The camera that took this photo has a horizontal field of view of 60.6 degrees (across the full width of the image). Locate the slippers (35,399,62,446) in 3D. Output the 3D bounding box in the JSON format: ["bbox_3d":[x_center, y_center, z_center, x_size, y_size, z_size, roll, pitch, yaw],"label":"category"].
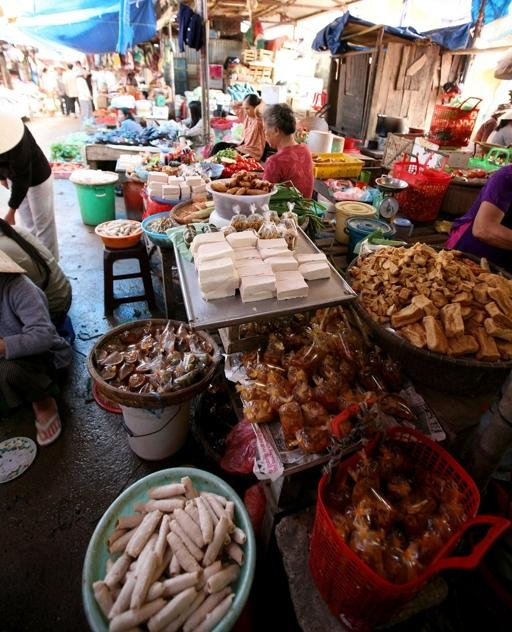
[{"bbox_3d":[-1.551,0.790,3.297,0.158,0.362,0.101,-12,1,-7],"label":"slippers"}]

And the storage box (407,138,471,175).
[{"bbox_3d":[2.068,-1.852,5.064,0.698,0.382,0.661,-9,29,-21],"label":"storage box"}]

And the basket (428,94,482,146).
[{"bbox_3d":[2.261,-2.217,5.070,0.468,0.519,0.451,14,33,15],"label":"basket"}]

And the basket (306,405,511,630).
[{"bbox_3d":[0.650,0.870,1.928,0.631,0.927,0.755,-32,63,-29],"label":"basket"}]

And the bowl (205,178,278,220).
[{"bbox_3d":[-0.100,-0.726,2.772,0.398,0.198,0.361,9,32,9],"label":"bowl"}]

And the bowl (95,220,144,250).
[{"bbox_3d":[-1.427,-0.856,4.595,0.433,0.208,0.601,-6,32,-16],"label":"bowl"}]

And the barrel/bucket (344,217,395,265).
[{"bbox_3d":[0.853,-0.647,3.551,0.418,0.327,0.362,-1,39,-2],"label":"barrel/bucket"}]

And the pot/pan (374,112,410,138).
[{"bbox_3d":[2.307,-3.285,7.639,0.547,0.361,0.343,25,38,31],"label":"pot/pan"}]

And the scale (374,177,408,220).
[{"bbox_3d":[1.231,-1.100,4.154,0.312,0.350,0.289,-13,32,-17],"label":"scale"}]

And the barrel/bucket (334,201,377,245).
[{"bbox_3d":[0.844,-0.858,3.908,0.405,0.323,0.375,0,36,0],"label":"barrel/bucket"}]

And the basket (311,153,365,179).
[{"bbox_3d":[0.974,-1.794,5.498,0.494,0.205,0.653,-5,29,-6],"label":"basket"}]
